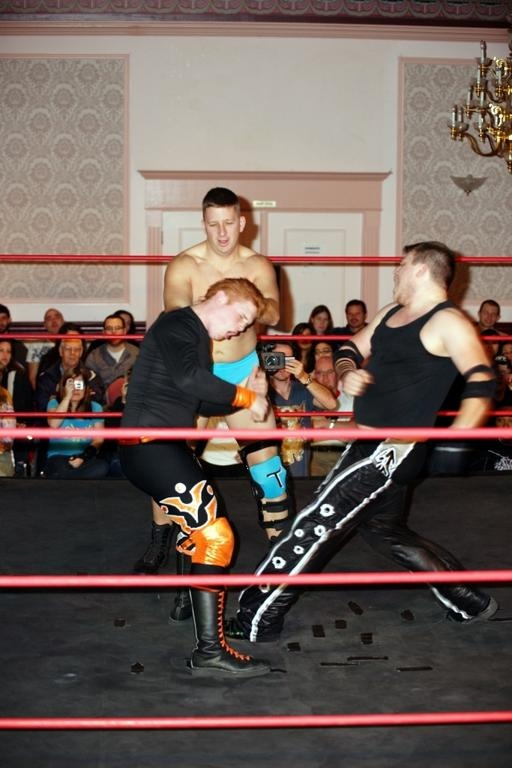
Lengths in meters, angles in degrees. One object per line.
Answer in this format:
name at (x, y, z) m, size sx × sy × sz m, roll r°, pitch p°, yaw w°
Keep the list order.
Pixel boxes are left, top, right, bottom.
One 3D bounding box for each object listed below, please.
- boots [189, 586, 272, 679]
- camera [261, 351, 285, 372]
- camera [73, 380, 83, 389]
boots at (-0.070, 0.577, 1.660) m, size 0.147 × 0.218 × 0.140 m, roll 8°, pitch 11°, yaw 43°
camera at (0.052, -0.068, 2.213) m, size 0.105 × 0.075 × 0.052 m, roll 0°, pitch 1°, yaw -2°
camera at (-0.919, 0.003, 3.613) m, size 0.048 × 0.040 × 0.033 m, roll -2°, pitch -1°, yaw -7°
